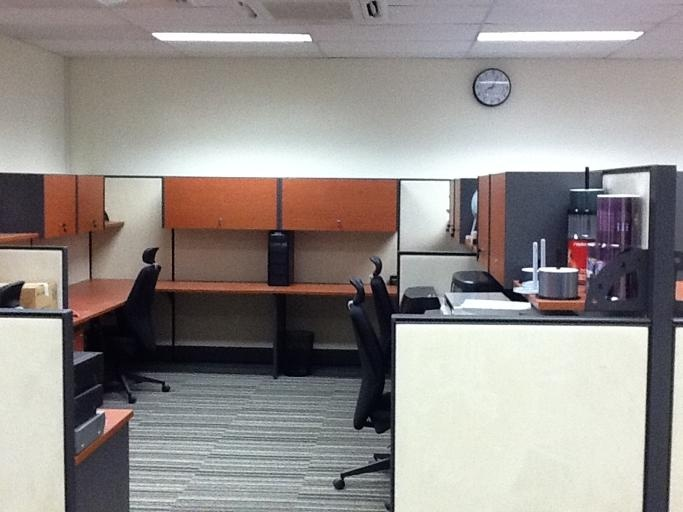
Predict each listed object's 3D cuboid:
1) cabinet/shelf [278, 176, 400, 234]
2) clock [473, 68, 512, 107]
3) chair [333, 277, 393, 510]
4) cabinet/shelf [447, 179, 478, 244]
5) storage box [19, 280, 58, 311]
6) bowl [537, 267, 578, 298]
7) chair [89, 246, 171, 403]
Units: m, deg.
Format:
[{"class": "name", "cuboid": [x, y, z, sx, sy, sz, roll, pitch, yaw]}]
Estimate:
[{"class": "cabinet/shelf", "cuboid": [-0.025, -0.443, 5.355, 0.965, 0.435, 0.194, -1, 8, -7]}, {"class": "clock", "cuboid": [1.340, -1.503, 5.555, 0.319, 0.339, 0.047, -2, 10, -3]}, {"class": "chair", "cuboid": [0.119, 0.752, 3.523, 0.323, 1.191, 0.511, 1, 8, 4]}, {"class": "cabinet/shelf", "cuboid": [0.910, -0.336, 4.650, 0.171, 0.500, 0.545, -1, 4, 0]}, {"class": "storage box", "cuboid": [-1.892, 0.253, 3.901, 0.199, 0.170, 0.171, -3, 9, -21]}, {"class": "bowl", "cuboid": [0.919, 0.113, 2.680, 0.129, 0.100, 0.132, 0, -1, 0]}, {"class": "chair", "cuboid": [-1.785, 0.511, 5.180, 0.615, 1.205, 1.058, -3, 9, -23]}]
